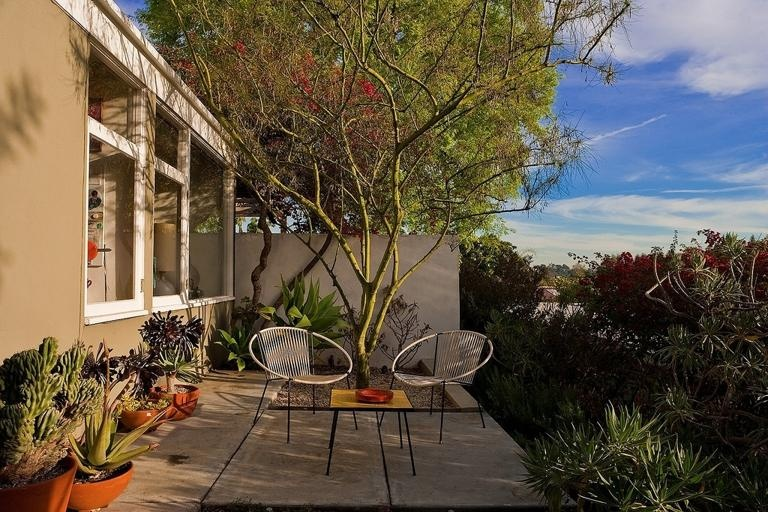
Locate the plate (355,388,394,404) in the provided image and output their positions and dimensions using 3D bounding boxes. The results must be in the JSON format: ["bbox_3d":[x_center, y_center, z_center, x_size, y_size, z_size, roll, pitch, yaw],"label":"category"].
[{"bbox_3d":[-0.093,1.237,4.865,0.351,0.050,0.354,1,3,3],"label":"plate"}]

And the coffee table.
[{"bbox_3d":[-0.140,1.556,4.921,0.584,0.539,0.687,1,-13,-2],"label":"coffee table"}]

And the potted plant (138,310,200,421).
[{"bbox_3d":[-2.154,1.076,5.427,0.522,1.003,0.620,-1,-4,17],"label":"potted plant"}]

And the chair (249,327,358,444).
[{"bbox_3d":[-0.899,1.166,6.055,1.341,1.278,0.945,5,-8,-40],"label":"chair"}]

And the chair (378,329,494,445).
[{"bbox_3d":[0.577,1.368,5.969,0.973,1.151,1.170,5,-4,-23],"label":"chair"}]
